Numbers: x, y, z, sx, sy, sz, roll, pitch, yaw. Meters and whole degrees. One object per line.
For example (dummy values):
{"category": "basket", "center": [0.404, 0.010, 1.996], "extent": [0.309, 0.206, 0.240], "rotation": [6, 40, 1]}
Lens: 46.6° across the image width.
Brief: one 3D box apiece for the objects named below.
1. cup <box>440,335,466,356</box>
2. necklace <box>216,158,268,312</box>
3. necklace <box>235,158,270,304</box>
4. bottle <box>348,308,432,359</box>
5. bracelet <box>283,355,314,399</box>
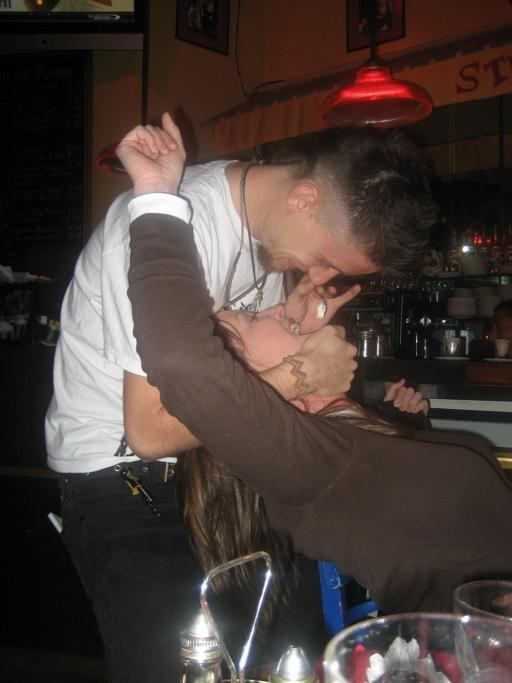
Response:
{"category": "cup", "center": [1.206, 0.029, 3.581], "extent": [0.140, 0.124, 0.168], "rotation": [0, -1, 1]}
{"category": "necklace", "center": [-0.027, -0.246, 1.475], "extent": [0.076, 0.324, 0.214], "rotation": [6, 17, 18]}
{"category": "necklace", "center": [-0.013, -0.255, 1.472], "extent": [0.057, 0.293, 0.169], "rotation": [1, 13, 14]}
{"category": "bottle", "center": [0.871, -0.071, 3.903], "extent": [0.615, 0.310, 0.415], "rotation": [2, 5, 4]}
{"category": "bracelet", "center": [0.080, 0.067, 1.162], "extent": [0.067, 0.066, 0.024], "rotation": [11, -17, -35]}
